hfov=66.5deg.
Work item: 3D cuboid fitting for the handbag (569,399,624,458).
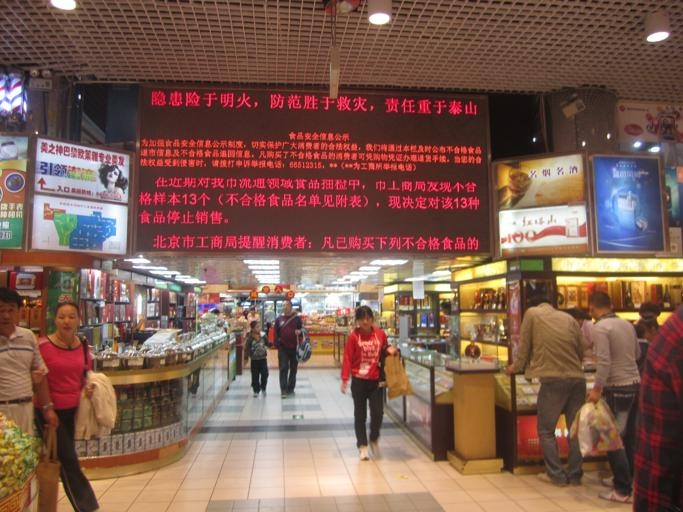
[{"bbox_3d":[2.404,1.629,4.913,0.539,0.589,0.313,-4,-4,12],"label":"handbag"}]

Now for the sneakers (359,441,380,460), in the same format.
[{"bbox_3d":[0.326,2.184,5.914,0.216,0.137,0.458,-1,-4,10],"label":"sneakers"}]

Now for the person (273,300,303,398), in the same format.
[{"bbox_3d":[-0.949,1.644,9.341,0.504,1.673,0.811,1,-4,-5],"label":"person"}]

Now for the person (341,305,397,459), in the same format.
[{"bbox_3d":[0.306,1.408,5.901,0.628,1.673,0.375,0,-4,-3],"label":"person"}]

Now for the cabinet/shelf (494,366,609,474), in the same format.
[{"bbox_3d":[2.178,1.742,5.619,0.734,0.747,0.587,1,-3,10],"label":"cabinet/shelf"}]

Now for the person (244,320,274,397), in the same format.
[{"bbox_3d":[-1.567,1.864,9.608,0.412,1.296,1.012,1,-4,-10],"label":"person"}]

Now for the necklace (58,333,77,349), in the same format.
[{"bbox_3d":[-2.372,0.745,4.551,0.089,0.076,0.118,2,-27,-17],"label":"necklace"}]

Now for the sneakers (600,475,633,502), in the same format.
[{"bbox_3d":[2.535,2.214,4.929,0.109,0.152,0.344,-1,5,-14],"label":"sneakers"}]
